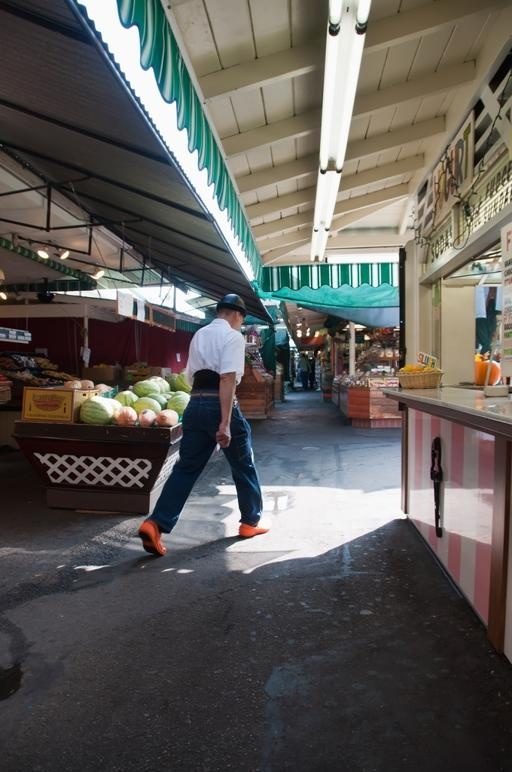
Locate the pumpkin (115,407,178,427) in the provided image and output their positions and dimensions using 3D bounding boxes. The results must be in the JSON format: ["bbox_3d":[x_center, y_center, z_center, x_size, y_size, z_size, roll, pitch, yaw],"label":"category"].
[{"bbox_3d":[-0.839,0.242,3.659,0.370,0.154,0.190,2,2,0],"label":"pumpkin"}]

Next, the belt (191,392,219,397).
[{"bbox_3d":[-0.328,0.041,3.029,0.198,0.056,0.065,0,1,37],"label":"belt"}]

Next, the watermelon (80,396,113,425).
[{"bbox_3d":[-1.226,0.196,3.729,0.251,0.236,0.214,1,-10,-13],"label":"watermelon"}]

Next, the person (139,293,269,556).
[{"bbox_3d":[-0.378,0.183,3.220,0.840,1.601,0.525,0,0,-30],"label":"person"}]

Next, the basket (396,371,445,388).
[{"bbox_3d":[1.128,-0.047,3.354,0.292,0.138,0.279,0,1,30],"label":"basket"}]

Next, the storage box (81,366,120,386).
[{"bbox_3d":[-2.949,-0.217,9.309,0.649,0.348,0.667,2,0,-6],"label":"storage box"}]

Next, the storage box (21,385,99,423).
[{"bbox_3d":[-1.607,0.144,3.815,0.408,0.290,0.246,4,3,5],"label":"storage box"}]
